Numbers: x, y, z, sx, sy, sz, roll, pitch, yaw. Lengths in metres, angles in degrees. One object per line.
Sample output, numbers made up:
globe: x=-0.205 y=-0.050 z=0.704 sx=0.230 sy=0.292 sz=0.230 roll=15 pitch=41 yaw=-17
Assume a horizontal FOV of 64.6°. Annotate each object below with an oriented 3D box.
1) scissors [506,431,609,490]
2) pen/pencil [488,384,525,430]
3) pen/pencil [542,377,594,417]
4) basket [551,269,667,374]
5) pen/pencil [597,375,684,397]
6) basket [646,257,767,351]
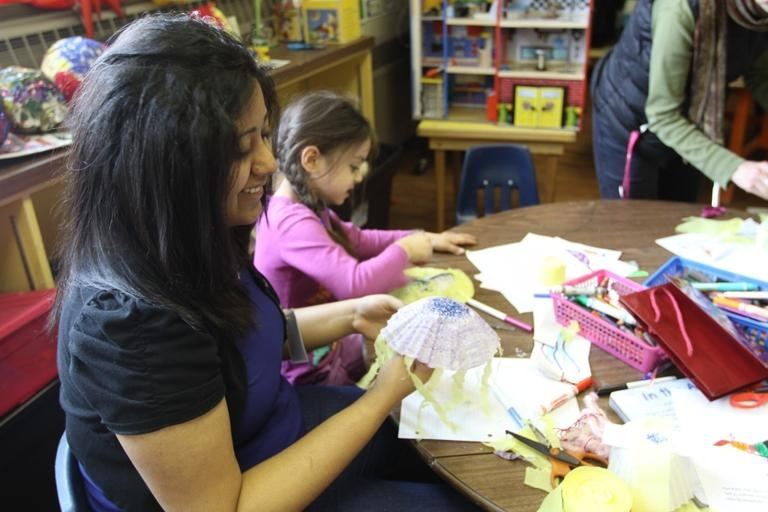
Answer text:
scissors: x=0.348 y=0.414 z=1.276 sx=0.076 sy=0.026 sz=0.135 roll=-26 pitch=32 yaw=-21
pen/pencil: x=0.282 y=0.337 z=1.377 sx=0.020 sy=0.030 sz=0.132 roll=-8 pitch=37 yaw=-9
pen/pencil: x=0.420 y=0.323 z=1.380 sx=0.109 sy=0.023 sz=0.020 roll=-27 pitch=36 yaw=-19
basket: x=0.570 y=0.192 z=1.552 sx=0.173 sy=0.092 sz=0.272 roll=-28 pitch=45 yaw=-25
pen/pencil: x=0.591 y=0.298 z=1.383 sx=0.130 sy=0.018 sz=0.018 roll=-13 pitch=2 yaw=-5
basket: x=0.850 y=0.132 z=1.571 sx=0.183 sy=0.093 sz=0.280 roll=-26 pitch=47 yaw=-18
